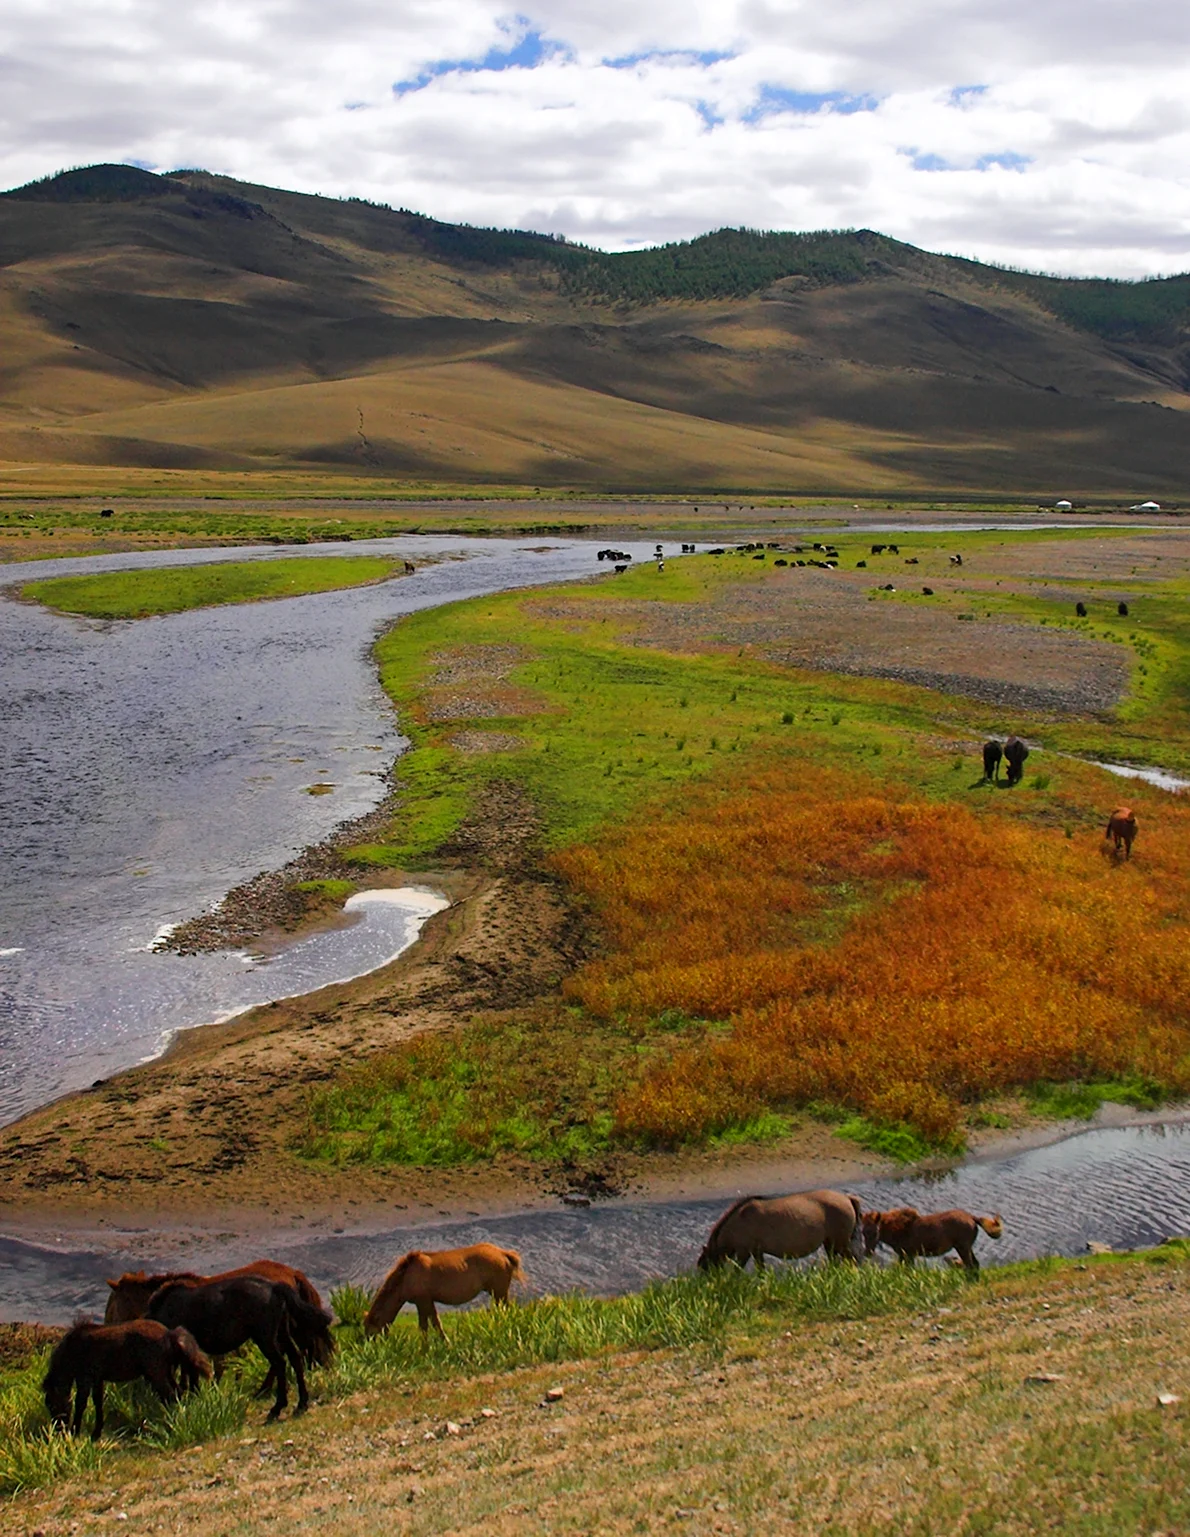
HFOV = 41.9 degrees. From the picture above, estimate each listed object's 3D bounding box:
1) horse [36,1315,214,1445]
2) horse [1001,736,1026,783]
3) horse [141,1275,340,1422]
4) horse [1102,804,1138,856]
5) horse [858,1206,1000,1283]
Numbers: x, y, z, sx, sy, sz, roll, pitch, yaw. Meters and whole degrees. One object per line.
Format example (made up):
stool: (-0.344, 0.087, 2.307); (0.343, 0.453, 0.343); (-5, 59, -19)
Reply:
horse: (-4.376, 5.575, 14.445); (1.686, 0.937, 0.371); (-13, -16, 14)
horse: (11.200, -0.219, 41.290); (0.480, 1.038, 2.081); (4, 14, 14)
horse: (-3.590, 5.495, 15.055); (2.487, 1.344, 0.561); (-11, -12, 22)
horse: (11.413, 1.306, 33.650); (0.537, 1.080, 1.135); (3, 15, 13)
horse: (3.701, 5.320, 17.607); (1.309, 0.585, 0.562); (0, 14, 0)
